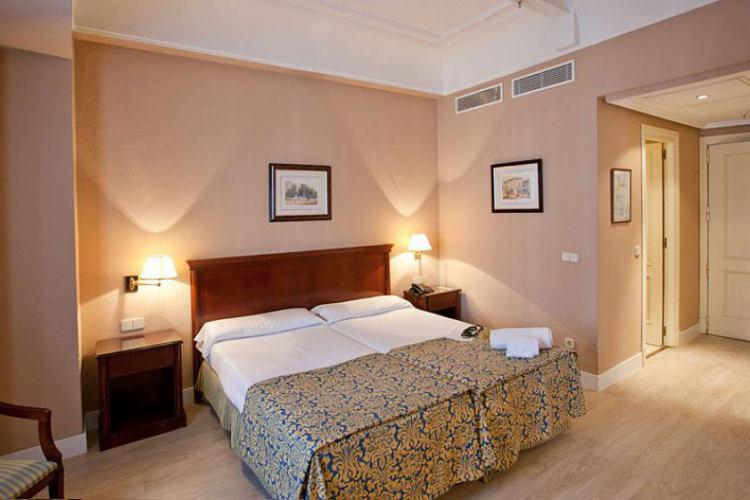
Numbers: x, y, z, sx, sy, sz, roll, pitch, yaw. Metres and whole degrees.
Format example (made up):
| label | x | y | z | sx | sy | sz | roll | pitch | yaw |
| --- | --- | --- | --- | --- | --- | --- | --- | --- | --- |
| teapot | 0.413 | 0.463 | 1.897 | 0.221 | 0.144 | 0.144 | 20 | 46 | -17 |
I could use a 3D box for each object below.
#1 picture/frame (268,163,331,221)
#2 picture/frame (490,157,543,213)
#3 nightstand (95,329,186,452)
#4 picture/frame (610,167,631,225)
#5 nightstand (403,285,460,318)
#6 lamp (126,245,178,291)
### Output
| label | x | y | z | sx | sy | sz | roll | pitch | yaw |
| --- | --- | --- | --- | --- | --- | --- | --- | --- | --- |
| picture/frame | -0.970 | -0.721 | 6.167 | 0.732 | 0.624 | 0.049 | -2 | 2 | -35 |
| picture/frame | 1.778 | -0.824 | 6.255 | 0.047 | 0.658 | 0.697 | -7 | 8 | -40 |
| nightstand | -2.475 | 1.392 | 5.239 | 0.845 | 0.995 | 0.550 | -7 | 17 | -38 |
| picture/frame | 2.871 | -0.641 | 5.879 | 0.470 | 0.636 | 0.051 | -6 | 4 | -41 |
| nightstand | 0.786 | 0.661 | 6.941 | 0.642 | 0.591 | 0.463 | -6 | 10 | -38 |
| lamp | -2.374 | 0.247 | 5.494 | 0.352 | 0.432 | 0.566 | -2 | 10 | -30 |
